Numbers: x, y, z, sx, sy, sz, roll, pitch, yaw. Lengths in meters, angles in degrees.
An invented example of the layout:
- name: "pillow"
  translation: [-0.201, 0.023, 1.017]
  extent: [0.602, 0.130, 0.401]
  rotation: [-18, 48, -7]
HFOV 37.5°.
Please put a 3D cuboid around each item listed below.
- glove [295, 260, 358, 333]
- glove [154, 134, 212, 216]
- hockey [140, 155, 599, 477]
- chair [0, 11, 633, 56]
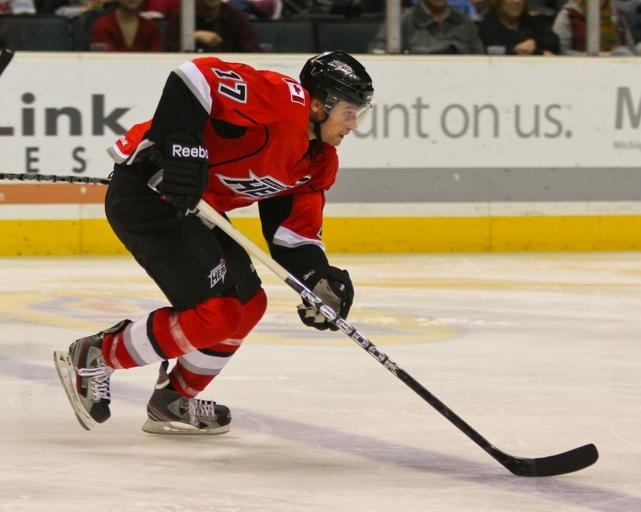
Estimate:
- name: "glove"
  translation: [0.024, 0.124, 2.895]
  extent: [0.187, 0.084, 0.207]
  rotation: [35, 47, -17]
- name: "glove"
  translation: [-0.373, -0.225, 2.543]
  extent: [0.196, 0.181, 0.066]
  rotation: [10, -2, -7]
- name: "hockey"
  translation: [0.179, 0.226, 3.637]
  extent: [2.239, 0.268, 0.227]
  rotation: [30, 51, 12]
- name: "chair"
  translation: [-0.217, -1.521, 6.439]
  extent: [2.913, 0.324, 0.450]
  rotation: [1, 25, -3]
